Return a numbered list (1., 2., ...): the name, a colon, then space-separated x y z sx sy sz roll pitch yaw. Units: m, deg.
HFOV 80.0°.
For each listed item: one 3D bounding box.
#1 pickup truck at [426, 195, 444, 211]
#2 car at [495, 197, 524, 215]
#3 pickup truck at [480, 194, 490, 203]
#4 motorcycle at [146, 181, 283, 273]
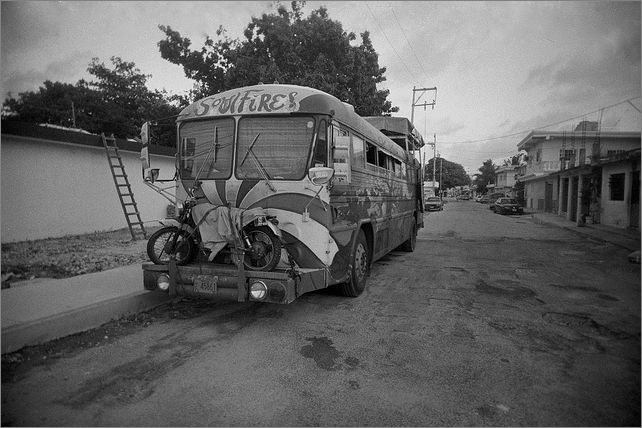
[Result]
1. pickup truck: 12.335 -1.043 41.552 1.821 0.945 2.469 3 14 12
2. car: 16.193 -0.622 32.994 1.159 1.005 2.900 -2 -3 12
3. pickup truck: 29.254 -2.773 67.709 1.776 1.782 2.923 -2 -4 20
4. motorcycle: -1.803 0.169 6.632 2.279 1.585 1.122 0 1 11
